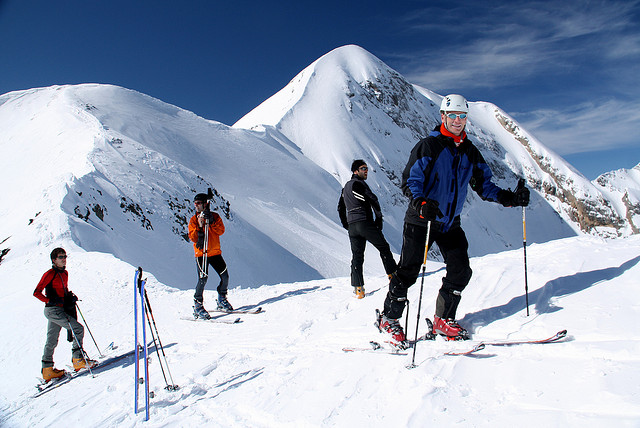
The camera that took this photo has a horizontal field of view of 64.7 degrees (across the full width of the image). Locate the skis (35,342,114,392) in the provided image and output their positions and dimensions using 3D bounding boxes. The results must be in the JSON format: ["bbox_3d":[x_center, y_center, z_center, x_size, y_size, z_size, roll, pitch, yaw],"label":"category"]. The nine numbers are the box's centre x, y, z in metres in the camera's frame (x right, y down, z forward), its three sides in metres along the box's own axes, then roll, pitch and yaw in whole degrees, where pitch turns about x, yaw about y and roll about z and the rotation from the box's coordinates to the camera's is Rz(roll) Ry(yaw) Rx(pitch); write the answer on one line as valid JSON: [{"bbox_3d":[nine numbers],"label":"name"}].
[{"bbox_3d":[-5.423,3.423,11.156,1.811,0.198,0.252,-30,-19,-43],"label":"skis"}]

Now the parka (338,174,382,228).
[{"bbox_3d":[0.961,-0.336,13.455,0.579,1.446,1.248,-7,7,-37],"label":"parka"}]

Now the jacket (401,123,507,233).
[{"bbox_3d":[2.660,-0.686,10.177,2.483,2.182,1.712,-3,15,-20],"label":"jacket"}]

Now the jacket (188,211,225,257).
[{"bbox_3d":[-3.028,0.504,13.556,0.922,1.312,0.707,-3,-10,-26],"label":"jacket"}]

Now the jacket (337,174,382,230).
[{"bbox_3d":[0.995,-0.353,13.561,1.401,1.371,0.684,-10,-12,42],"label":"jacket"}]

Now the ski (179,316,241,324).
[{"bbox_3d":[-2.855,2.720,13.148,1.695,0.140,0.217,-1,7,22],"label":"ski"}]

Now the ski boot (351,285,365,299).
[{"bbox_3d":[1.029,2.069,13.474,0.282,0.320,0.547,-5,6,-19],"label":"ski boot"}]

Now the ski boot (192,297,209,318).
[{"bbox_3d":[-3.164,2.479,13.397,0.395,0.468,0.345,-4,6,-3],"label":"ski boot"}]

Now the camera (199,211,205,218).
[{"bbox_3d":[-3.116,0.009,13.322,0.135,0.139,0.037,10,-2,24],"label":"camera"}]
